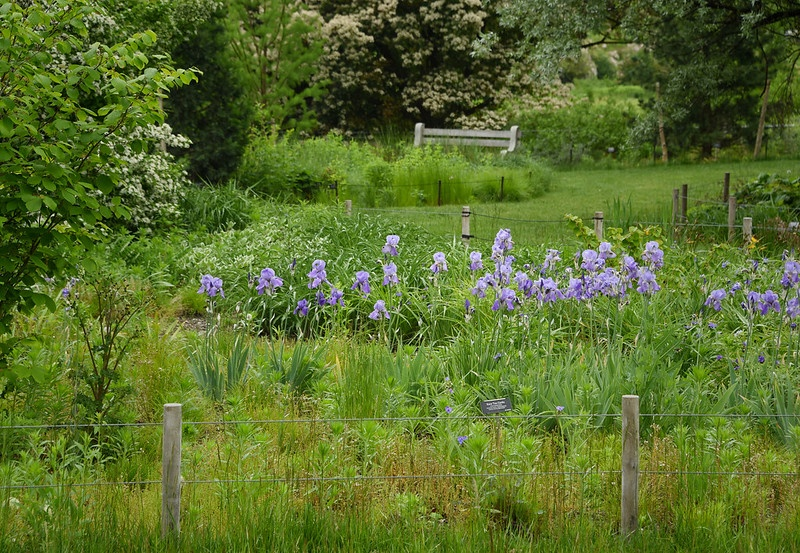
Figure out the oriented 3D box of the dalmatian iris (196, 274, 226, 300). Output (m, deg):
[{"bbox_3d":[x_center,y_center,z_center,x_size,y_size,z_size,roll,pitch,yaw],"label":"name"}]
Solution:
[{"bbox_3d":[-1.944,0.105,11.619,0.274,0.349,0.331,-8,10,-36],"label":"dalmatian iris"}]
